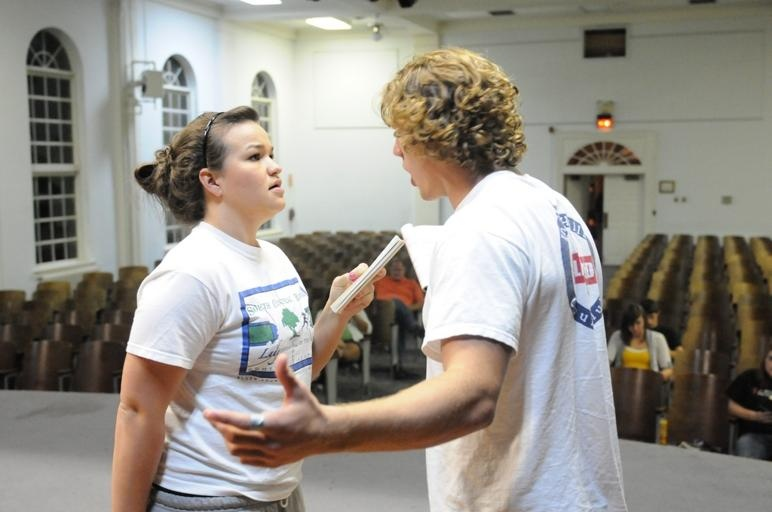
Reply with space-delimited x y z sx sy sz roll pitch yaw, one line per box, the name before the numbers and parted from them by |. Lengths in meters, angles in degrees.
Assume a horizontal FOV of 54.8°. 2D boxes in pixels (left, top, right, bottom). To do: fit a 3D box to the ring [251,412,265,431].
ring | -0.432 0.558 2.508 0.045 0.047 0.011 -1 6 -12
